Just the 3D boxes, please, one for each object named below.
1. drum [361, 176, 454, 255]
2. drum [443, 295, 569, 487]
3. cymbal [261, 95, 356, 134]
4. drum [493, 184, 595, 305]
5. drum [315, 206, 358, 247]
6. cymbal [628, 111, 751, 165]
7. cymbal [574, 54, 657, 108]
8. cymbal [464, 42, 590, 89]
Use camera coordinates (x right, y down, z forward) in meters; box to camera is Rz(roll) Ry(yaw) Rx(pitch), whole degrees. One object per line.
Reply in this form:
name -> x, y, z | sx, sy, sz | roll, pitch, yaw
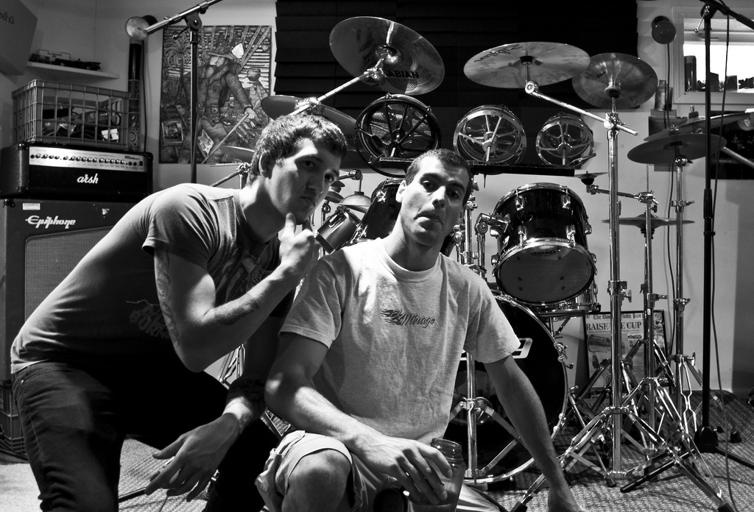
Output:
drum -> 0.122, -0.235, 4.522 | 0.489, 0.504, 0.485 | 8, -9, 25
drum -> 0.817, 0.721, 4.399 | 0.946, 0.985, 0.974 | 4, 13, 2
cymbal -> -0.437, -0.949, 4.525 | 0.439, 0.104, 0.433 | -19, 16, -36
drum -> 0.974, -0.057, 4.281 | 0.629, 0.657, 0.603 | -7, 45, 12
drum -> -0.252, -0.190, 4.565 | 0.197, 0.253, 0.188 | 38, -13, 11
cymbal -> 2.059, -0.752, 4.673 | 0.540, 0.142, 0.540 | -4, -6, -18
cymbal -> 1.571, -1.110, 4.649 | 0.256, 0.449, 0.422 | 6, 10, -33
cymbal -> 0.941, -1.275, 4.547 | 0.787, 0.188, 0.805 | 0, -5, 0
